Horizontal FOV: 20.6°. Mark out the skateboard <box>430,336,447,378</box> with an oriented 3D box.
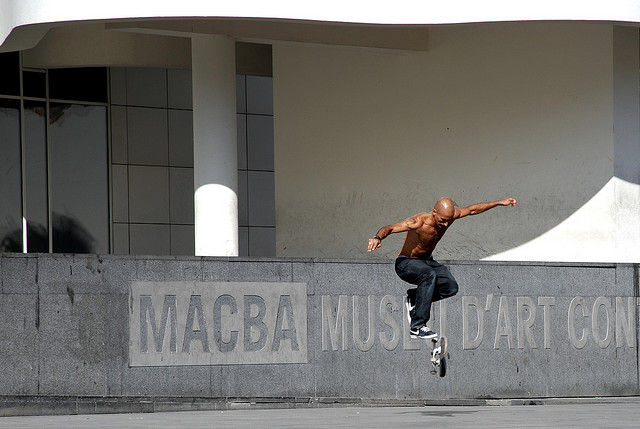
[{"bbox_3d":[2.254,2.714,33.415,0.348,0.900,0.271,8,28,17],"label":"skateboard"}]
